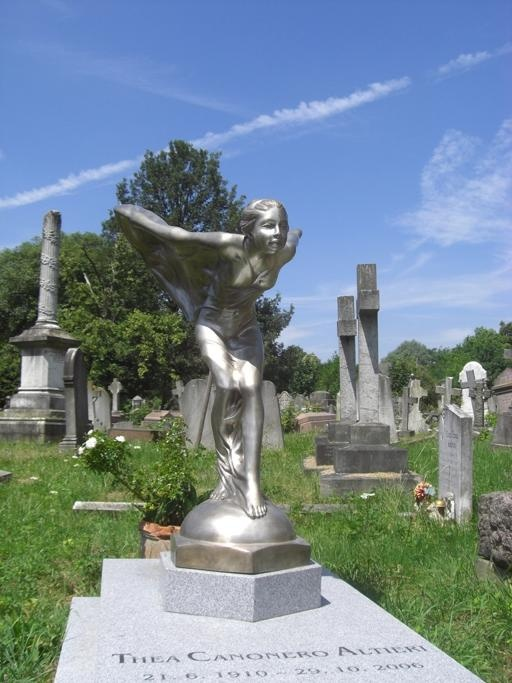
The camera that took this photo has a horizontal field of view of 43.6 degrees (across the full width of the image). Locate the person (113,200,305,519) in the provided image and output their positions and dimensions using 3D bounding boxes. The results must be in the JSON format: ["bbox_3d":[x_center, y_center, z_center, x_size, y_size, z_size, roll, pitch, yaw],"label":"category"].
[{"bbox_3d":[-0.201,0.042,3.777,1.093,1.807,0.538,-3,-5,37],"label":"person"}]

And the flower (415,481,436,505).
[{"bbox_3d":[1.788,1.637,6.853,0.201,0.225,0.334,-1,-4,14],"label":"flower"}]

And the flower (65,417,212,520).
[{"bbox_3d":[-1.324,1.422,7.199,1.466,1.015,1.115,4,1,38],"label":"flower"}]
